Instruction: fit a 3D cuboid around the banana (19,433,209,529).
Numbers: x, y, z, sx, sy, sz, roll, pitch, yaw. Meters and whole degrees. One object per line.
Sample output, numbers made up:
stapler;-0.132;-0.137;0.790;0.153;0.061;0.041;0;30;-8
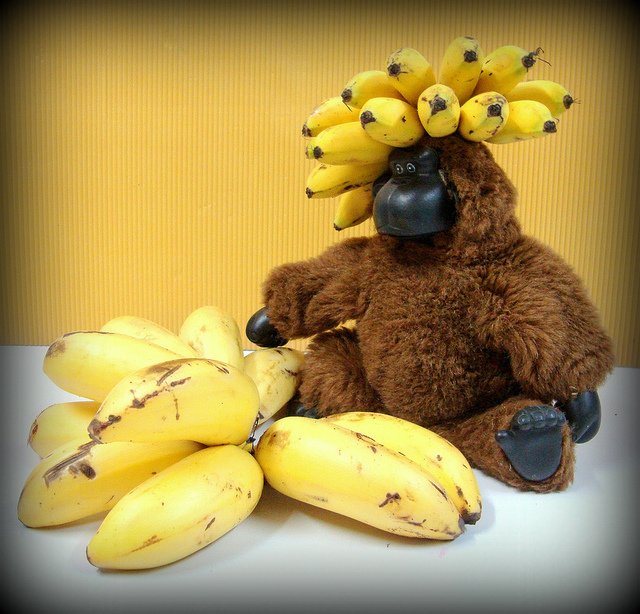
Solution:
banana;-0.322;0.247;1.113;0.114;0.120;0.359;32;6;18

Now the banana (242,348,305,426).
banana;-0.088;0.138;1.379;0.088;0.062;0.170;5;18;35

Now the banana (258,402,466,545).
banana;0.053;0.231;1.092;0.323;0.107;0.142;25;13;24
